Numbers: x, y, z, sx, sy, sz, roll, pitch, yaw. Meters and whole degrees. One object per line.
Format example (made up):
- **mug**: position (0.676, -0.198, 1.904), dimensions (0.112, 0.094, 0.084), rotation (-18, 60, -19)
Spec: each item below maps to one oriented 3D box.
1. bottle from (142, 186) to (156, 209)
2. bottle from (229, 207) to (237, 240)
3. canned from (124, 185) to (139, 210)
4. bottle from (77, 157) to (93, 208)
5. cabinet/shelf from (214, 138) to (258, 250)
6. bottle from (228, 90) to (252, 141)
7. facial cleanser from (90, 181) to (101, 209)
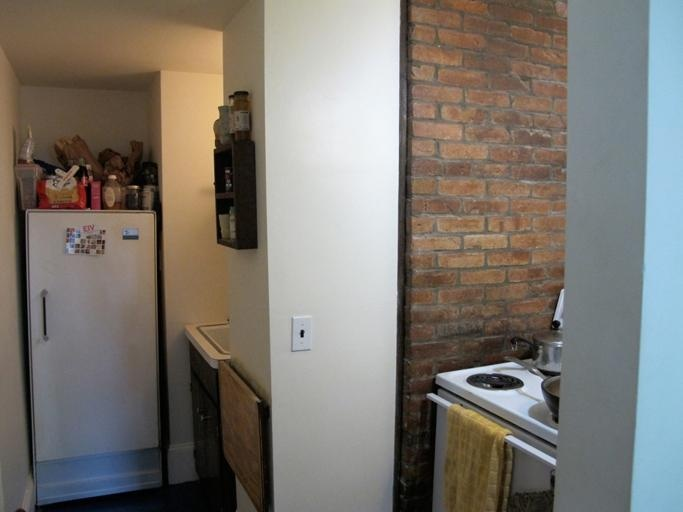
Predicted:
- **bottle**: position (-1.192, -0.357, 3.473), dimensions (0.087, 0.145, 0.051), rotation (-4, 5, -13)
- **bottle**: position (-0.465, -0.136, 2.398), dimensions (0.034, 0.125, 0.087), rotation (-3, -5, -1)
- **canned**: position (-1.294, -0.358, 3.465), dimensions (0.107, 0.148, 0.113), rotation (-4, 5, -12)
- **bottle**: position (-1.583, -0.454, 3.490), dimensions (0.086, 0.310, 0.185), rotation (-5, 5, -24)
- **cabinet/shelf**: position (-0.443, -0.271, 2.383), dimensions (0.158, 0.587, 0.483), rotation (0, 1, -18)
- **bottle**: position (-0.425, -0.582, 2.353), dimensions (0.059, 0.199, 0.133), rotation (-6, 6, -39)
- **facial cleanser**: position (-1.490, -0.369, 3.408), dimensions (0.073, 0.220, 0.155), rotation (-1, 3, -25)
